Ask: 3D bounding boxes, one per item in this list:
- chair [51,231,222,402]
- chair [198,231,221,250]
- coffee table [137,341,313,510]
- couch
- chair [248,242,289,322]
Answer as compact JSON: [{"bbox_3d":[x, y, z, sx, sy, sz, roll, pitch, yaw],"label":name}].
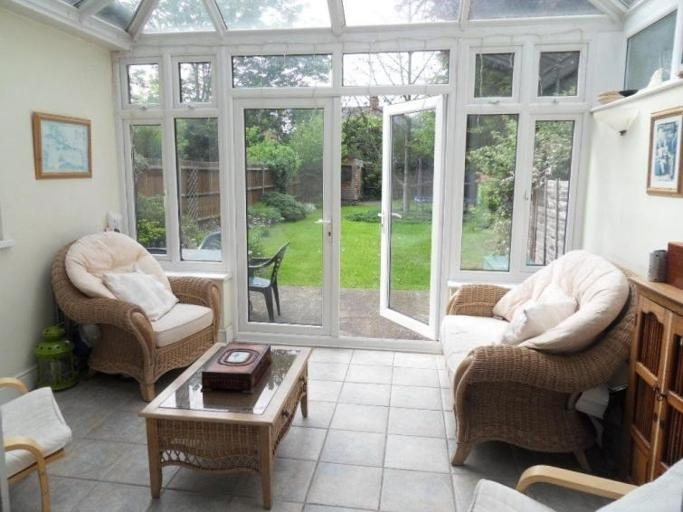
[{"bbox_3d":[-1.753,0.455,4.560,1.381,1.078,1.338,4,13,-3],"label":"chair"},{"bbox_3d":[-1.299,-0.145,5.190,0.224,0.101,0.134,-1,7,16],"label":"chair"},{"bbox_3d":[-0.731,1.045,3.507,0.863,0.721,0.981,2,11,7],"label":"coffee table"},{"bbox_3d":[1.276,0.737,3.767,1.272,1.111,2.181,-3,6,13],"label":"couch"},{"bbox_3d":[-0.740,0.217,5.619,0.640,0.852,0.526,3,7,4],"label":"chair"}]
